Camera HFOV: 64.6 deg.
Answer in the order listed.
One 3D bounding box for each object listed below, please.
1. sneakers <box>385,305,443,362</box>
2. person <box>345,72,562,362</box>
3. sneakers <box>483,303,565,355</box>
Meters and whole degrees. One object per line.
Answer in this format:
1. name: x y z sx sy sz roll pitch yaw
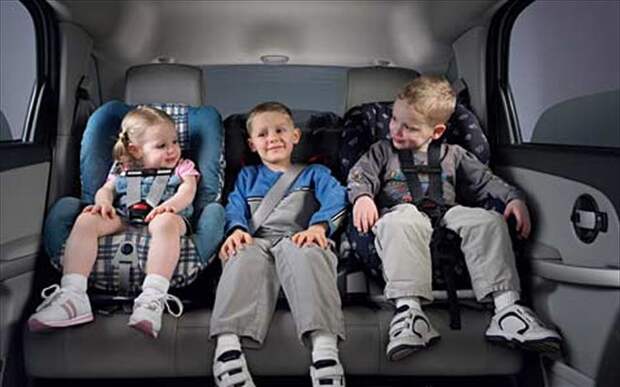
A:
1. sneakers: 0.338 0.441 1.574 0.171 0.162 0.078 2 2 2
2. person: 0.477 0.053 1.700 0.677 0.961 0.333 1 2 -4
3. sneakers: 0.686 0.461 1.682 0.298 0.153 0.114 11 -20 11
